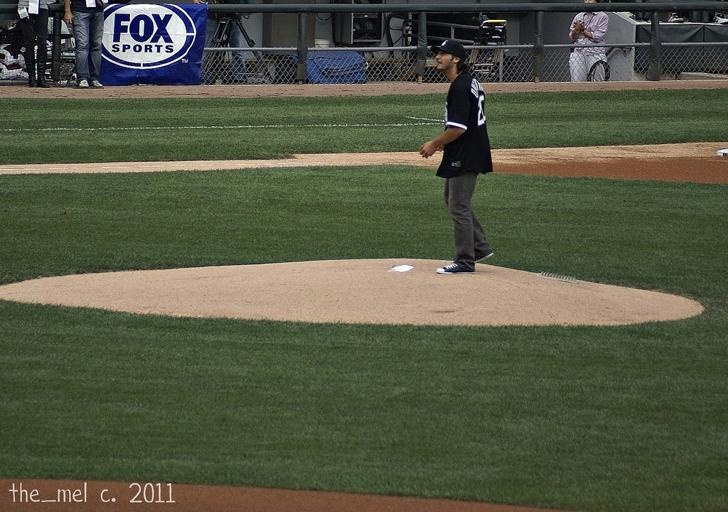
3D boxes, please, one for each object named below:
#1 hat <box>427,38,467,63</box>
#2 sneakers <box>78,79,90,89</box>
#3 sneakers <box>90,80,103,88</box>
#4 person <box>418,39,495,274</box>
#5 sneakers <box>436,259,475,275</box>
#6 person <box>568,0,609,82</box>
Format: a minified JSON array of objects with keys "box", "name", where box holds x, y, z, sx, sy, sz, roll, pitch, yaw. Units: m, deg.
[{"box":[0.907,-2.113,13.443,0.387,0.170,0.250,21,5,-15],"name":"hat"},{"box":[-4.766,-2.918,22.050,0.123,0.104,0.268,0,1,-12],"name":"sneakers"},{"box":[-4.528,-2.909,22.065,0.111,0.085,0.222,-6,8,-28],"name":"sneakers"},{"box":[0.980,-1.018,13.500,0.741,2.410,0.477,-8,13,-39],"name":"person"},{"box":[0.931,0.122,13.583,0.465,0.150,0.142,4,4,4],"name":"sneakers"},{"box":[4.051,-3.885,23.471,0.666,1.479,1.198,2,9,8],"name":"person"}]
